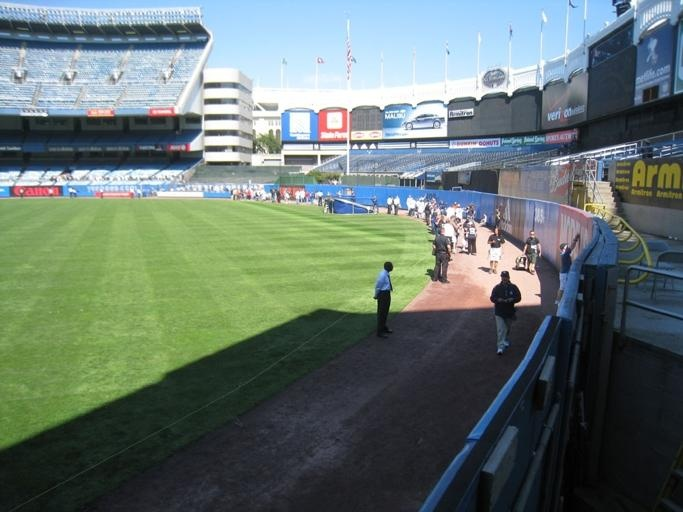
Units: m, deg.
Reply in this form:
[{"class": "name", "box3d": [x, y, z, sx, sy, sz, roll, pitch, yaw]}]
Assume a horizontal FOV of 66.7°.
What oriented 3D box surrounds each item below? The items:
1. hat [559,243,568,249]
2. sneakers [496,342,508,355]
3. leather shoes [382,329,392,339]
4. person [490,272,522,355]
[{"class": "hat", "box3d": [6.765, -0.288, 15.810, 0.295, 0.195, 0.412, -2, 12, 17]}, {"class": "sneakers", "box3d": [3.736, 2.145, 12.060, 0.138, 0.202, 0.469, -6, 0, 27]}, {"class": "leather shoes", "box3d": [1.130, 2.002, 13.215, 0.143, 0.196, 0.455, -2, -9, -1]}, {"class": "person", "box3d": [3.838, 1.297, 12.216, 0.624, 1.848, 1.036, 4, 12, 18]}]
